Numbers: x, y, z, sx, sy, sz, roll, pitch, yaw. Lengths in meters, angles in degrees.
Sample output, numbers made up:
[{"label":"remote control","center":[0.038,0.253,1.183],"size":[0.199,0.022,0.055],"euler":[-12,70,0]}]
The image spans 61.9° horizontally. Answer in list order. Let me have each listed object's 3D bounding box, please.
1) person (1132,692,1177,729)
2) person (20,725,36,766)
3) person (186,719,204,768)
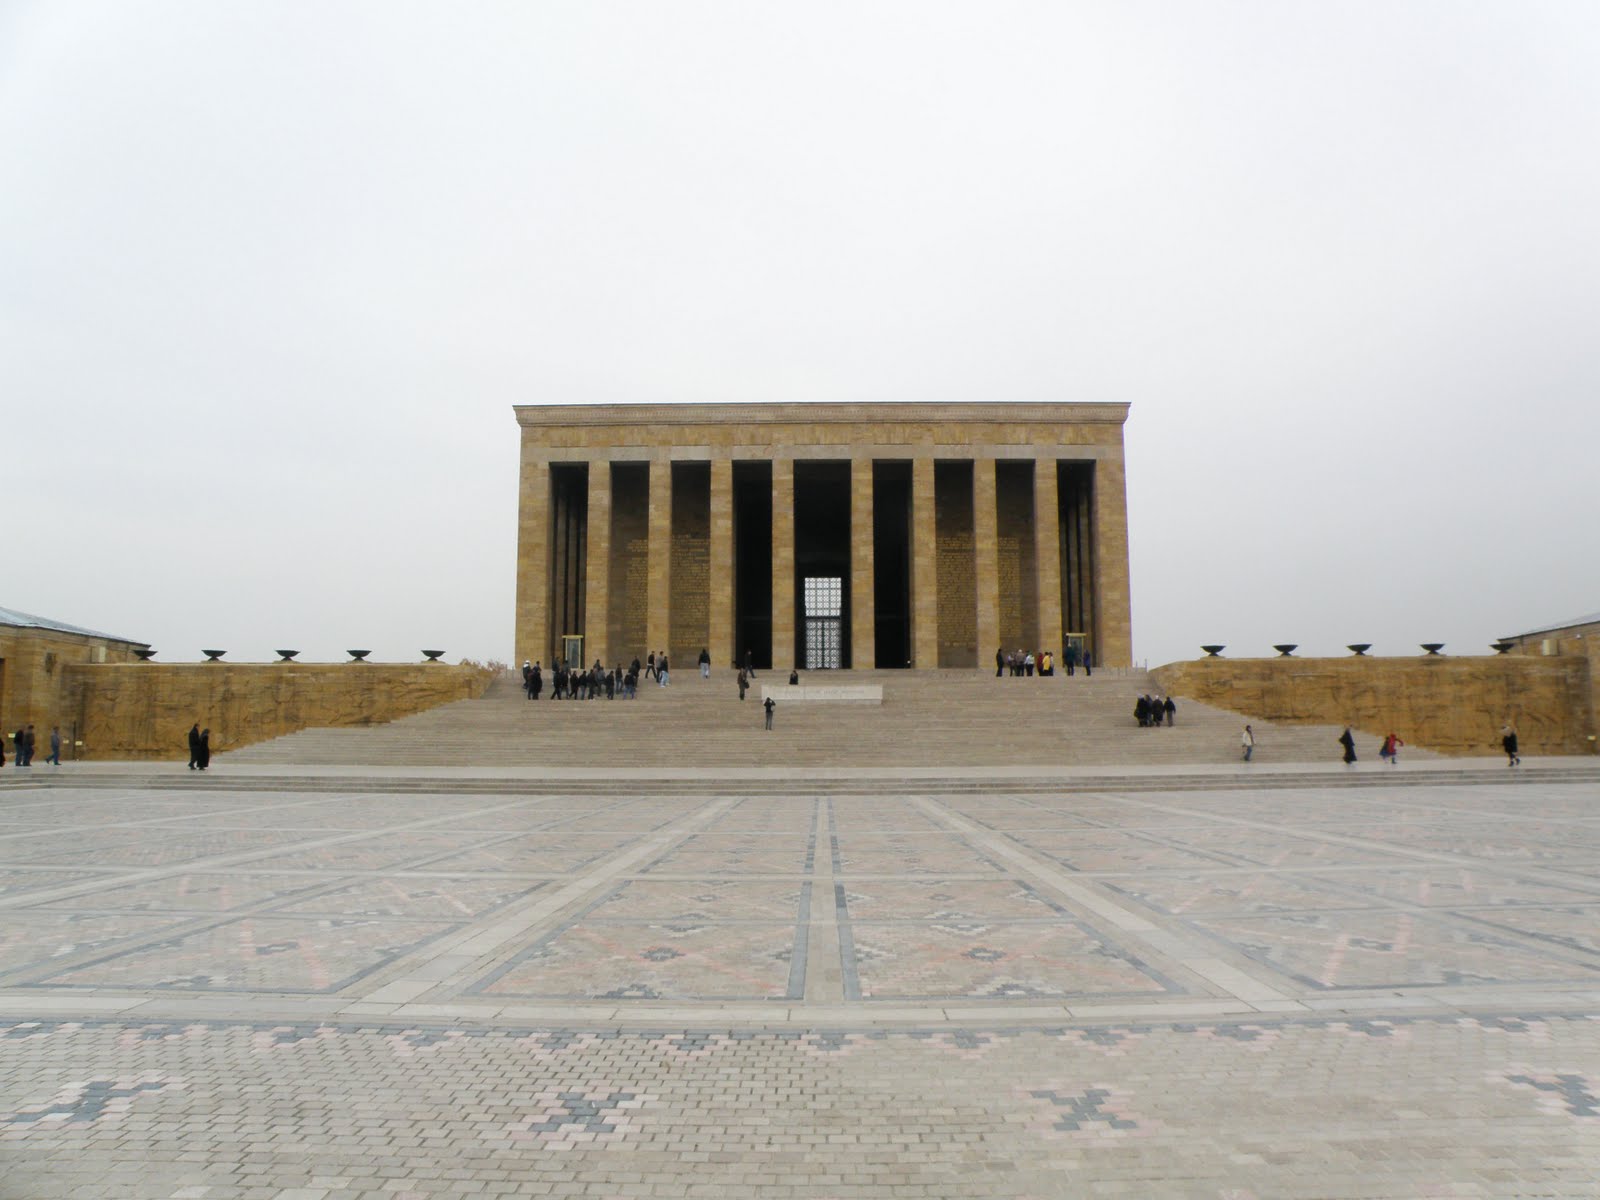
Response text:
[{"label":"person","center":[7.062,2.247,26.541],"size":[0.447,0.523,0.948],"euler":[-2,-9,8]},{"label":"person","center":[-14.865,2.813,25.548],"size":[0.221,0.686,0.959],"euler":[2,-2,-33]},{"label":"person","center":[-10.074,2.478,22.288],"size":[0.236,0.716,0.579],"euler":[1,-2,-20]}]
